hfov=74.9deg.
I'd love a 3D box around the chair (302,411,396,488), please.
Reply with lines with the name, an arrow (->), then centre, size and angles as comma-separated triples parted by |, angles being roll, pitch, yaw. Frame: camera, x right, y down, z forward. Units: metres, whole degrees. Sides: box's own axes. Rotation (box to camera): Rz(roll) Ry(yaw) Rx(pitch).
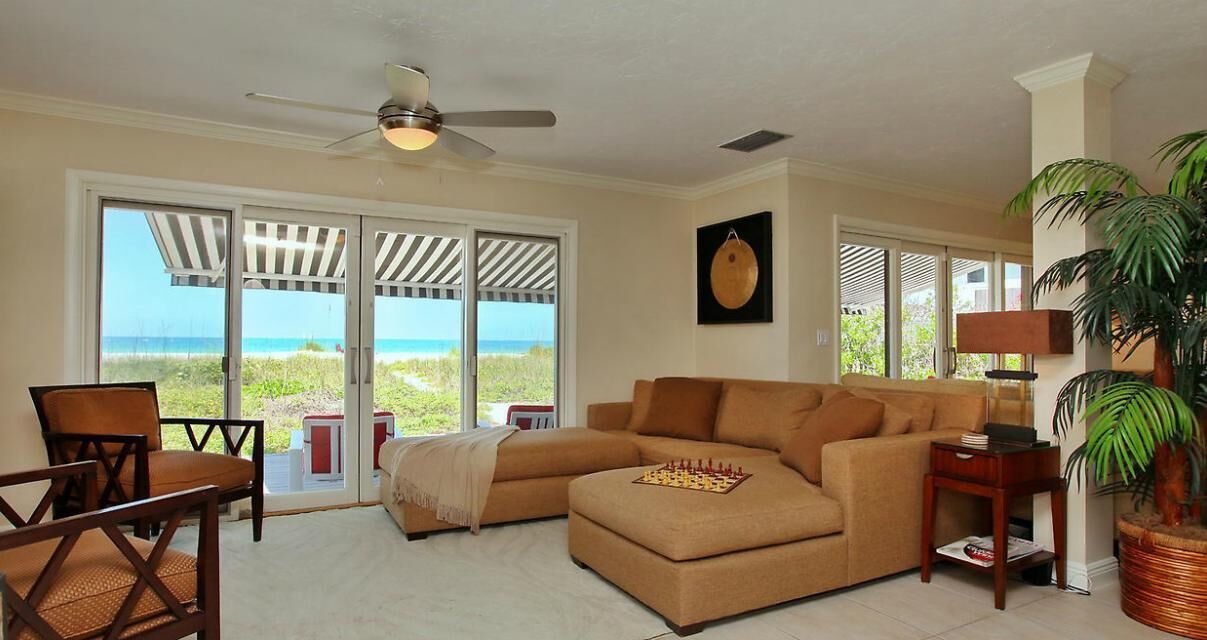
chair -> -2.488, 1.273, 7.860 | 0.969, 0.543, 0.509 | -2, -5, -1

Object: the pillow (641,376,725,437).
pillow -> 0.822, 0.884, 7.933 | 0.867, 0.685, 0.245 | -5, -18, 35

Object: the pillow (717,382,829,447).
pillow -> 1.544, 0.923, 7.476 | 0.409, 0.595, 1.044 | -12, 12, -40

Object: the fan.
fan -> -1.636, -1.729, 6.410 | 2.165, 0.676, 1.274 | 2, -5, -19

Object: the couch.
couch -> 1.272, 1.540, 6.294 | 2.245, 0.982, 2.819 | 5, -7, -27

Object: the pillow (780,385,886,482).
pillow -> 1.868, 0.932, 6.461 | 0.245, 0.726, 0.771 | 39, -16, -16

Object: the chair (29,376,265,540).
chair -> -3.826, 1.170, 6.614 | 1.413, 1.061, 1.097 | 4, 2, 25
